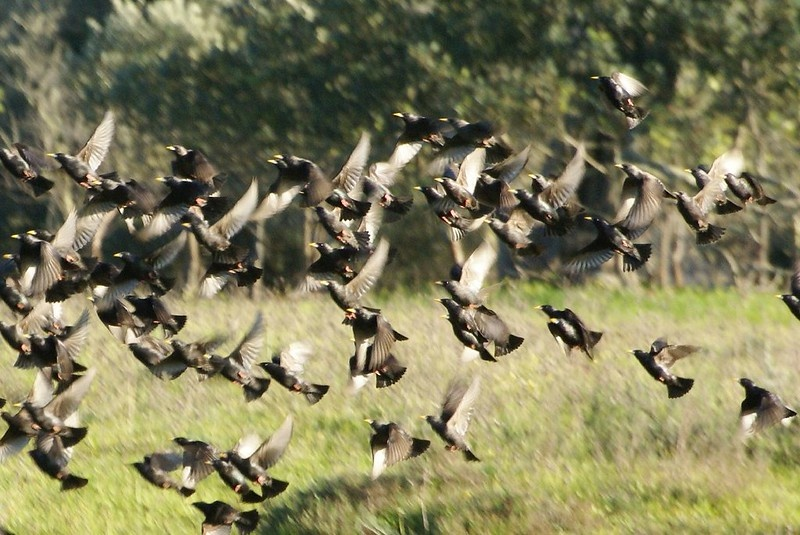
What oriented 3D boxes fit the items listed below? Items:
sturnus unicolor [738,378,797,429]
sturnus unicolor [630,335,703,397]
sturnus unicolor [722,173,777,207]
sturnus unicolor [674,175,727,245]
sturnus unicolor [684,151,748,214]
[{"bbox_3d":[4.802,1.822,21.993,0.710,0.718,0.335,11,0,17],"label":"sturnus unicolor"},{"bbox_3d":[3.559,1.310,22.192,0.750,0.497,0.892,29,-25,3],"label":"sturnus unicolor"},{"bbox_3d":[4.686,-1.100,22.100,0.647,0.356,0.327,5,-6,-12],"label":"sturnus unicolor"},{"bbox_3d":[3.950,-0.830,21.933,0.783,0.850,0.239,11,0,-17],"label":"sturnus unicolor"},{"bbox_3d":[4.184,-1.195,22.072,0.795,0.594,0.814,13,-26,-16],"label":"sturnus unicolor"}]
